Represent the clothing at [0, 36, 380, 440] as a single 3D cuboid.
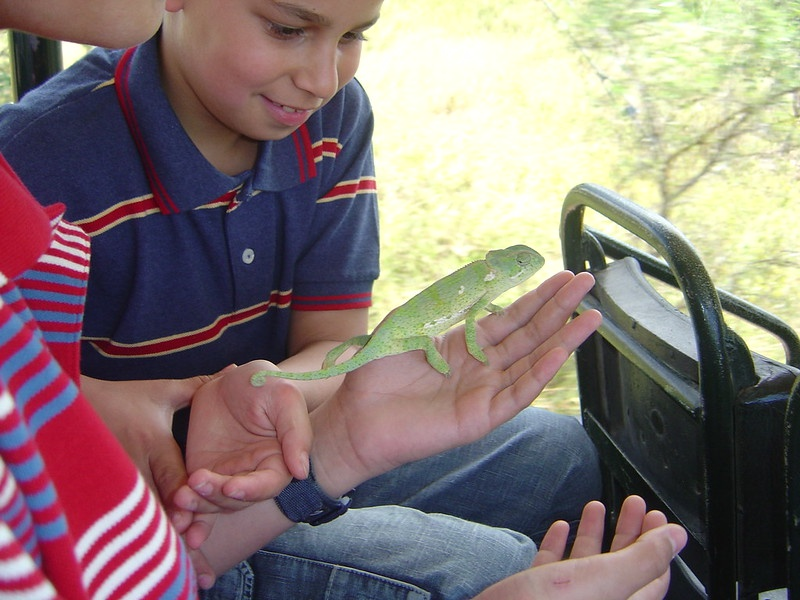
[{"bbox_3d":[-0.460,-0.133,1.636,0.895,0.759,0.331,-9,37,-35],"label":"clothing"}]
